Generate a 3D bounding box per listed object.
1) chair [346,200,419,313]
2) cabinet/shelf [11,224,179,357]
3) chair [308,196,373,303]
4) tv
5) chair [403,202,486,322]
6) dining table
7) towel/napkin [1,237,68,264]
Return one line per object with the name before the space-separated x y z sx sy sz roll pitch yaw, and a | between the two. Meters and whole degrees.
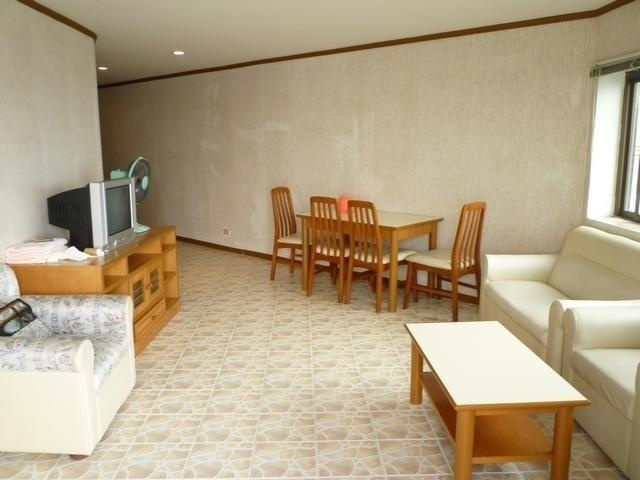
chair | 0.629 0.121 5.107 0.672 1.046 0.713 10 11 44
cabinet/shelf | -1.787 0.470 4.282 0.693 0.932 1.577 2 13 4
chair | 0.206 0.065 5.400 0.714 1.117 0.743 -2 13 -8
tv | -1.918 -0.214 4.053 0.667 0.471 0.565 -2 11 -9
chair | 1.261 0.161 4.919 0.822 1.075 0.785 2 11 13
dining table | 0.563 0.128 5.526 1.446 0.935 0.966 9 20 36
towel/napkin | -2.163 0.081 3.706 0.401 0.128 0.332 -2 12 -9
